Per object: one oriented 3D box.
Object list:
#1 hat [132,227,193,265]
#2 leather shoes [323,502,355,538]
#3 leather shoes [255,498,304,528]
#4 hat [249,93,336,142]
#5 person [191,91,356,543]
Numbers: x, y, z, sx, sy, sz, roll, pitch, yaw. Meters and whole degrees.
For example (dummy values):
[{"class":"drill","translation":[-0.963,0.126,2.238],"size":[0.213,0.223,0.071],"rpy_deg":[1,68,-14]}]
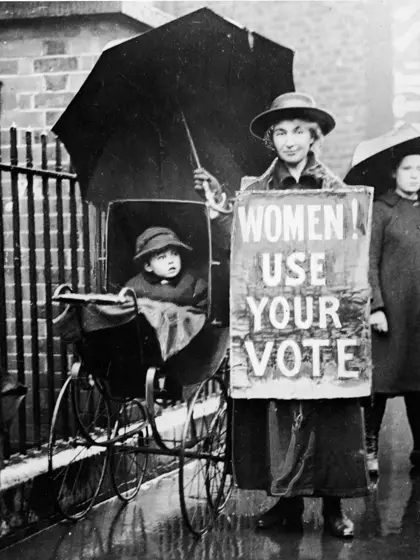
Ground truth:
[{"class":"hat","translation":[-0.356,-0.203,6.976],"size":[0.214,0.137,0.239],"rpy_deg":[-6,-8,0]},{"class":"leather shoes","translation":[0.657,1.199,6.359],"size":[0.090,0.213,0.272],"rpy_deg":[1,4,-18]},{"class":"leather shoes","translation":[0.370,1.199,6.526],"size":[0.243,0.159,0.278],"rpy_deg":[-1,9,5]},{"class":"hat","translation":[0.428,-0.954,6.743],"size":[0.397,0.140,0.438],"rpy_deg":[-1,-4,15]},{"class":"person","translation":[0.317,0.139,6.554],"size":[0.821,2.239,0.907],"rpy_deg":[-2,8,2]}]
